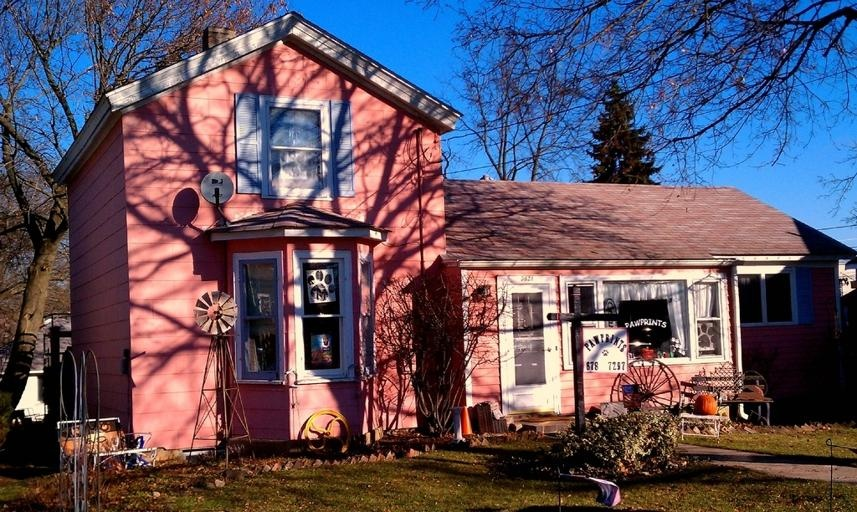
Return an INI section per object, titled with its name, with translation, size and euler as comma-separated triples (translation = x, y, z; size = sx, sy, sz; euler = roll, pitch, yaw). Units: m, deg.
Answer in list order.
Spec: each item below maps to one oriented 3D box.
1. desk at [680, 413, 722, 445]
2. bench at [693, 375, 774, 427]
[desk]
translation = 7.161, 4.536, 24.233
size = 1.201, 0.692, 0.706
euler = 1, 0, 4
[bench]
translation = 8.461, 3.991, 25.461
size = 2.052, 1.143, 0.718
euler = 2, 1, -1
